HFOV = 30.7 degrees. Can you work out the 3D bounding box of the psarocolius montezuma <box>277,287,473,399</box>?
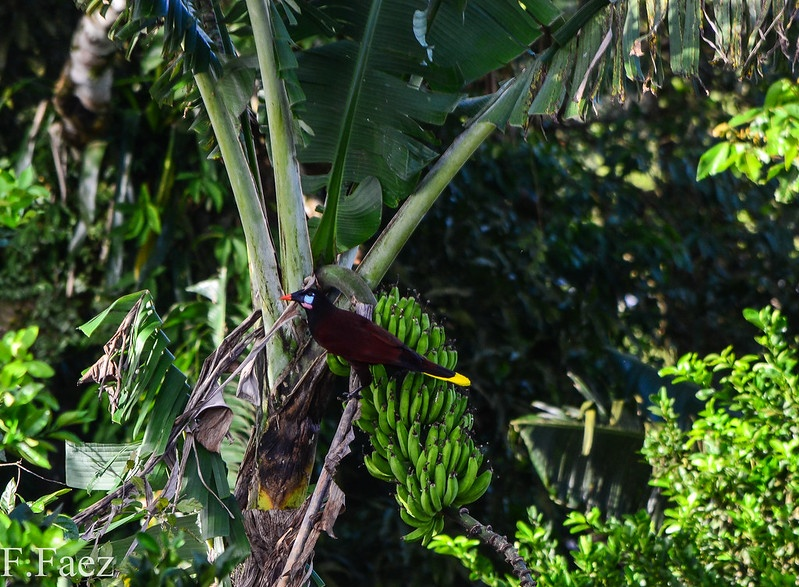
[{"bbox_3d":[-0.194,0.315,9.751,1.363,1.053,0.484,6,1,12],"label":"psarocolius montezuma"}]
